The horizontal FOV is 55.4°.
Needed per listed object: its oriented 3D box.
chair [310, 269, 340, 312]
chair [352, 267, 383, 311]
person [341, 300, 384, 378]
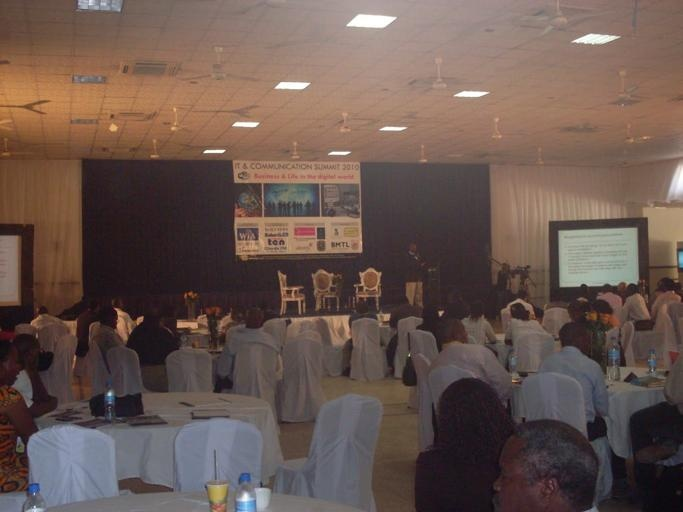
[{"bbox_3d":[-0.505,0.982,18.719,0.738,1.119,0.784,-1,-2,10],"label":"chair"},{"bbox_3d":[0.777,0.929,18.399,0.892,1.169,0.808,0,-1,-14],"label":"chair"},{"bbox_3d":[0.352,1.545,12.674,0.832,1.392,0.872,-2,19,4],"label":"person"}]
